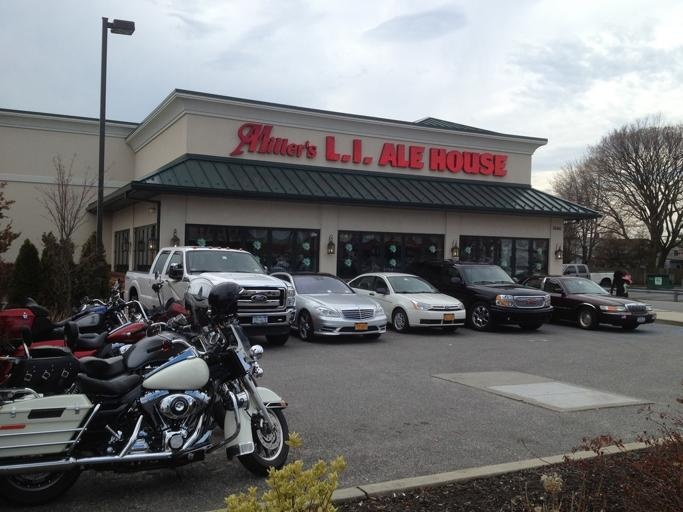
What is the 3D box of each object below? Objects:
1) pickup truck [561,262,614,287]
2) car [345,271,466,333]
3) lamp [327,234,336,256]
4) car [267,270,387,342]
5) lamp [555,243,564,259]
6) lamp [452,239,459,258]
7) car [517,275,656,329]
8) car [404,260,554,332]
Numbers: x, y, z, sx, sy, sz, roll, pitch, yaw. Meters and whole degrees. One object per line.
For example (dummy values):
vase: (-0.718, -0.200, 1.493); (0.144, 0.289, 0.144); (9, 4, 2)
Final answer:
pickup truck: (16.982, 1.226, 36.447); (2.740, 1.409, 1.670); (3, -1, 2)
car: (1.802, 1.414, 16.705); (1.558, 1.365, 3.747); (1, -1, -28)
lamp: (-0.435, -0.464, 21.797); (0.423, 0.739, 0.387); (-2, -1, -13)
car: (-0.256, 1.275, 13.891); (1.446, 1.231, 3.519); (0, -2, -27)
lamp: (10.797, -0.198, 26.408); (0.483, 0.801, 0.250); (-2, -1, -37)
lamp: (5.148, -0.286, 24.101); (0.425, 0.840, 0.205); (-2, -1, -33)
car: (8.230, 1.564, 17.737); (1.732, 1.338, 4.043); (0, -3, -19)
car: (4.555, 1.213, 17.764); (1.864, 1.707, 4.133); (0, 0, -28)
